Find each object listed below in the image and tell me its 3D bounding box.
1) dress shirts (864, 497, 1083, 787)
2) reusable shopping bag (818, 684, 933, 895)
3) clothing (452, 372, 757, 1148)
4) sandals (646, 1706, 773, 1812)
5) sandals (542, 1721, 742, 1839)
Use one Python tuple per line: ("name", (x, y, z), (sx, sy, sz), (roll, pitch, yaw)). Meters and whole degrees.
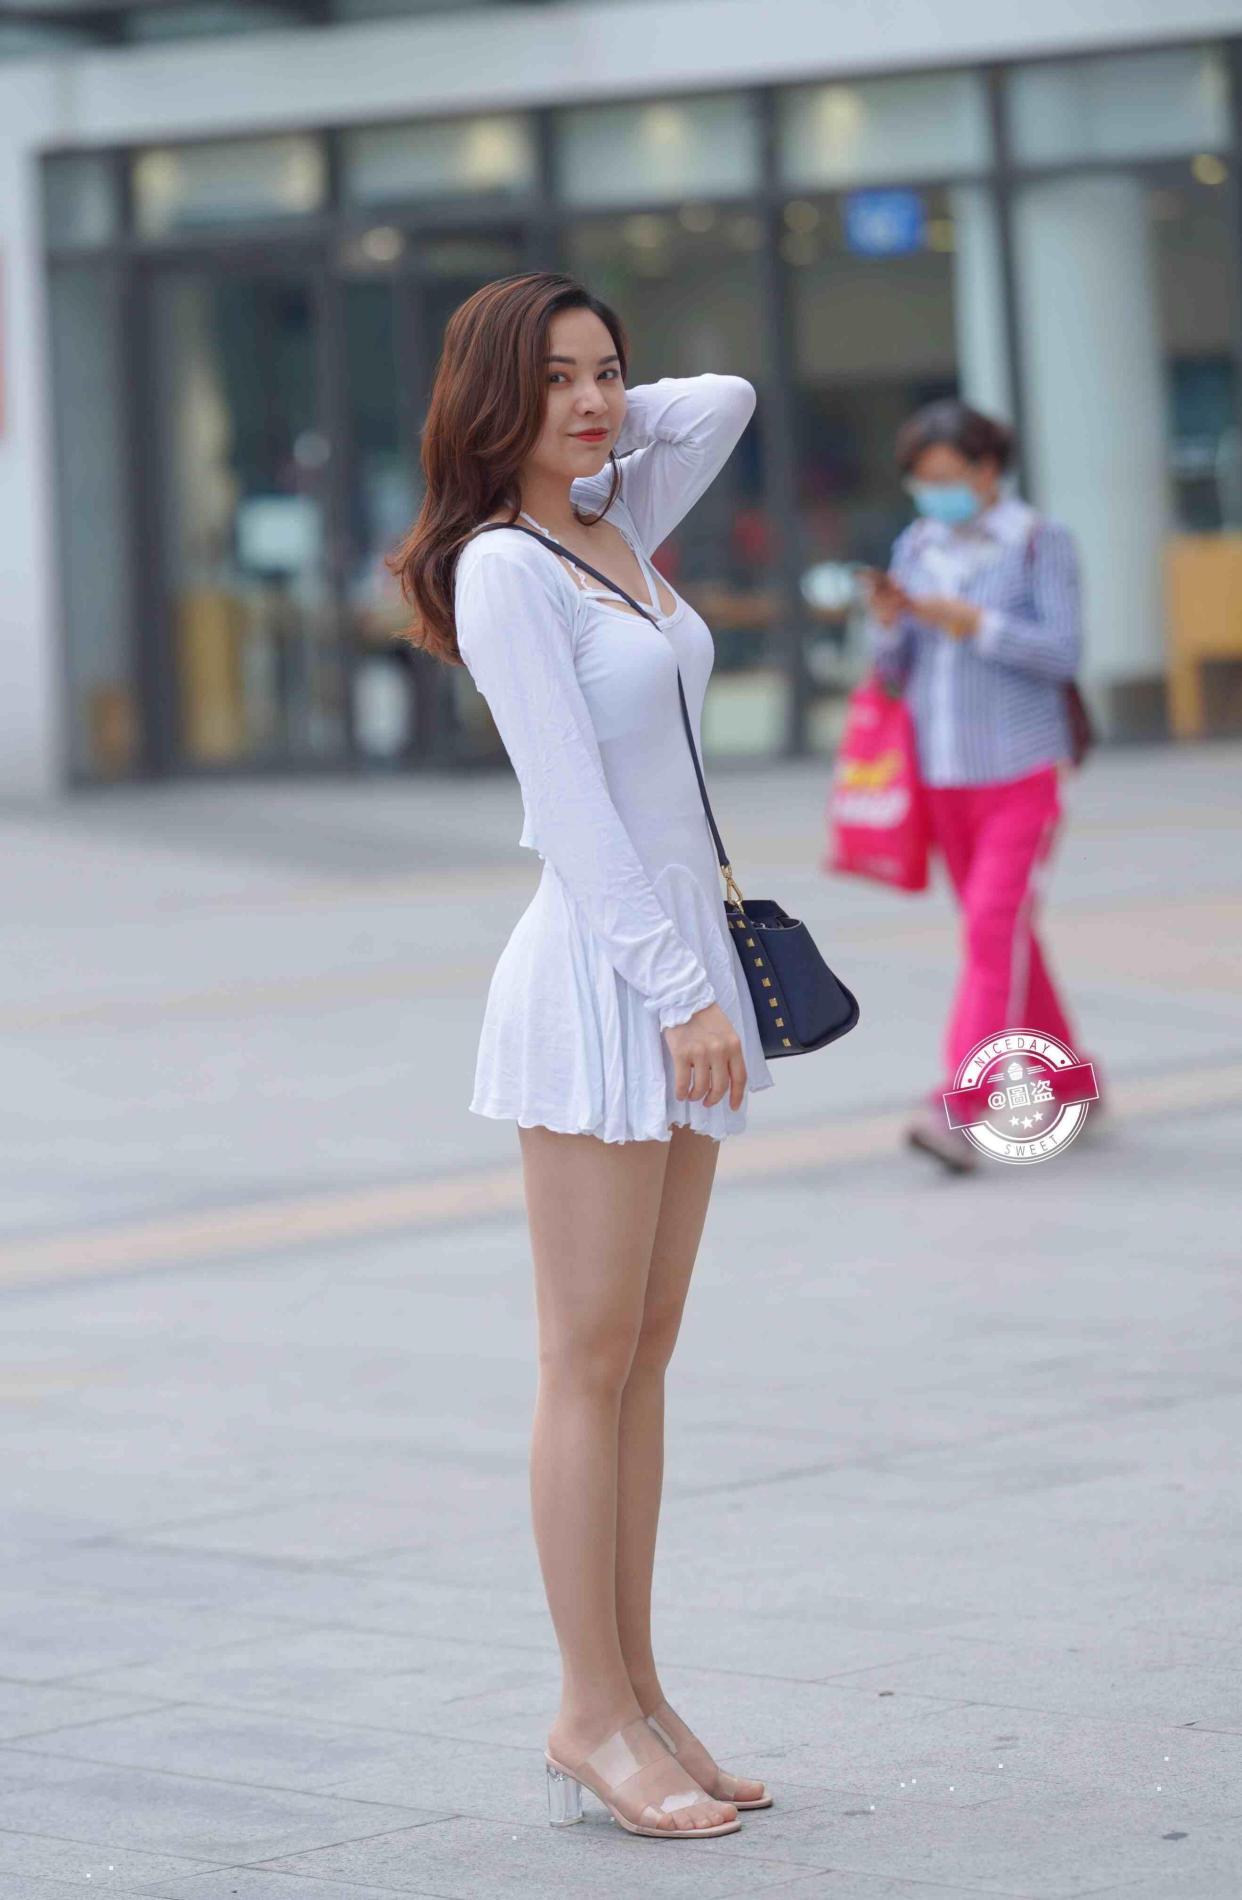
("dress shirts", (0.800, -0.672, 5.305), (0.411, 0.612, 0.212), (-3, 6, 13))
("reusable shopping bag", (0.580, -0.361, 5.379), (0.132, 0.432, 0.280), (-12, 18, -41))
("clothing", (-0.002, -0.231, 2.623), (0.342, 0.866, 0.704), (-4, 6, 4))
("sandals", (0.085, 0.848, 2.446), (0.159, 0.062, 0.052), (11, 27, 34))
("sandals", (0.022, 0.856, 2.437), (0.236, 0.100, 0.081), (-3, -4, 30))
